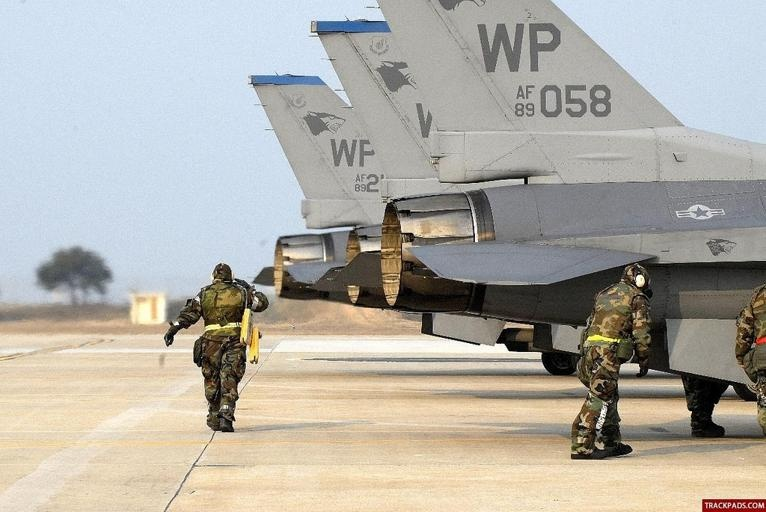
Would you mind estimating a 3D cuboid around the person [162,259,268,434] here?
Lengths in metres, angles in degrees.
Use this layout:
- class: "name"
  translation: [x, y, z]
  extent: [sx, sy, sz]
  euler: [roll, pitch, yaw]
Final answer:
- class: "person"
  translation: [-2.384, 1.445, 15.095]
  extent: [1.360, 2.183, 0.719]
  euler: [-1, -3, -6]

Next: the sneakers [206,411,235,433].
- class: "sneakers"
  translation: [-2.349, 2.405, 14.826]
  extent: [0.224, 0.193, 0.487]
  euler: [2, 2, -6]

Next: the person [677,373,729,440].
- class: "person"
  translation: [4.532, 2.106, 14.507]
  extent: [0.549, 0.888, 0.758]
  euler: [-3, -3, 30]

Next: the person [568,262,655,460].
- class: "person"
  translation: [2.871, 1.338, 13.011]
  extent: [1.022, 2.423, 0.499]
  euler: [-1, -3, 7]
